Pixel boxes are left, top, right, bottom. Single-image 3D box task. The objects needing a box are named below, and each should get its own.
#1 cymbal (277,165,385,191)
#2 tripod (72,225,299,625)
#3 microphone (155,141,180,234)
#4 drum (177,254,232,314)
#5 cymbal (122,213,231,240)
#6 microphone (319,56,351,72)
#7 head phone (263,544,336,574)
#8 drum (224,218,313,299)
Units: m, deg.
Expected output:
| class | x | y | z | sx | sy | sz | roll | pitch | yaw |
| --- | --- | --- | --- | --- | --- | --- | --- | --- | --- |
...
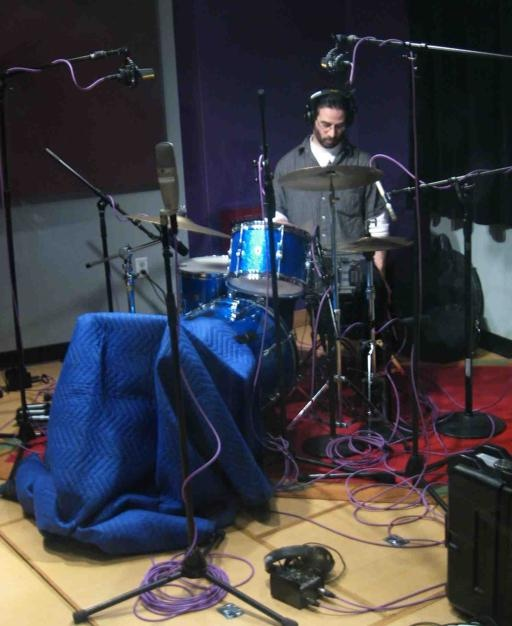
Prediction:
| class | x | y | z | sx | sy | sz | roll | pitch | yaw |
| --- | --- | --- | --- | --- | --- | --- | --- | --- | --- |
| cymbal | 0.286 | -0.519 | 2.797 | 0.230 | 0.043 | 0.220 | 4 | -9 | -26 |
| tripod | -0.269 | 0.278 | 1.892 | 0.522 | 1.028 | 0.592 | -7 | 9 | -20 |
| microphone | -0.220 | -0.316 | 1.810 | 0.050 | 0.231 | 0.175 | -5 | 8 | -6 |
| drum | -0.204 | -0.169 | 3.511 | 0.293 | 0.291 | 0.278 | -7 | 21 | -19 |
| cymbal | -0.418 | -0.407 | 3.290 | 0.508 | 0.081 | 0.332 | 8 | 4 | 39 |
| microphone | 0.274 | -0.827 | 2.417 | 0.062 | 0.028 | 0.079 | 1 | 10 | 23 |
| head phone | 0.117 | 0.674 | 1.985 | 0.136 | 0.051 | 0.093 | 0 | 7 | -1 |
| drum | 0.034 | -0.209 | 2.955 | 0.349 | 0.223 | 0.333 | 2 | -15 | 1 |
